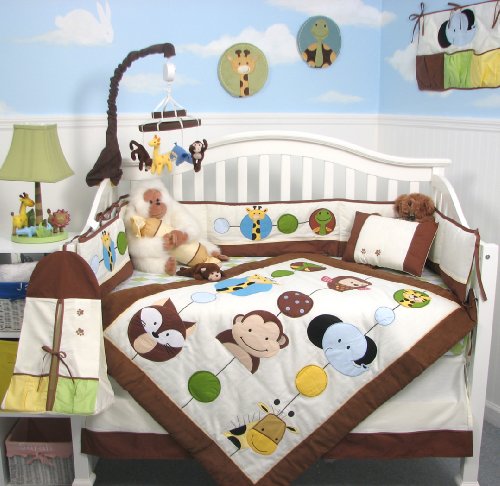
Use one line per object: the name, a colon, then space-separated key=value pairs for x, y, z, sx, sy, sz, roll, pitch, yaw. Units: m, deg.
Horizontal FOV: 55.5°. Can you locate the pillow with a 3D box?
pillow: x=0.643 y=-0.017 z=2.309 sx=0.124 sy=0.287 sz=0.417 roll=16 pitch=-6 yaw=-24

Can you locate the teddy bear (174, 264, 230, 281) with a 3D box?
teddy bear: x=-0.220 y=0.130 z=2.160 sx=0.129 sy=0.054 sz=0.099 roll=1 pitch=-1 yaw=25

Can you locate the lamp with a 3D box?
lamp: x=-0.953 y=-0.275 z=2.128 sx=0.299 sy=0.500 sz=0.362 roll=-7 pitch=14 yaw=-20

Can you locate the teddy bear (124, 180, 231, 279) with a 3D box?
teddy bear: x=-0.366 y=-0.080 z=2.271 sx=0.461 sy=0.414 sz=0.285 roll=-3 pitch=13 yaw=-5

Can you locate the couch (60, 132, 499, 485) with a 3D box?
couch: x=0.201 y=0.153 z=2.440 sx=1.834 sy=1.415 sz=1.501 roll=-2 pitch=13 yaw=0

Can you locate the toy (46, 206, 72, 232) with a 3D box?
toy: x=-0.847 y=-0.117 z=2.157 sx=0.093 sy=0.109 sz=0.139 roll=-10 pitch=8 yaw=-3
